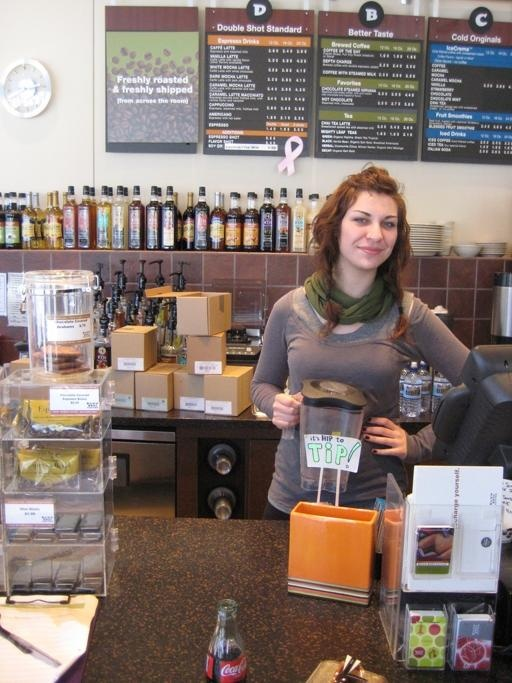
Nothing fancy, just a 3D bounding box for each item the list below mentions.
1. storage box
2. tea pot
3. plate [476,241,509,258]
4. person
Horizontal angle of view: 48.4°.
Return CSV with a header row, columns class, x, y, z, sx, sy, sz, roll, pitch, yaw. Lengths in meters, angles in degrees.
class,x,y,z,sx,sy,sz,roll,pitch,yaw
storage box,-0.276,0.025,2.309,0.536,0.485,0.536,2,3,5
tea pot,0.143,0.187,1.088,0.118,0.207,0.179,2,3,5
plate,1.277,-0.486,3.030,0.102,0.048,0.111,-2,5,-16
person,0.261,0.009,1.494,0.506,0.912,0.382,1,4,-17
